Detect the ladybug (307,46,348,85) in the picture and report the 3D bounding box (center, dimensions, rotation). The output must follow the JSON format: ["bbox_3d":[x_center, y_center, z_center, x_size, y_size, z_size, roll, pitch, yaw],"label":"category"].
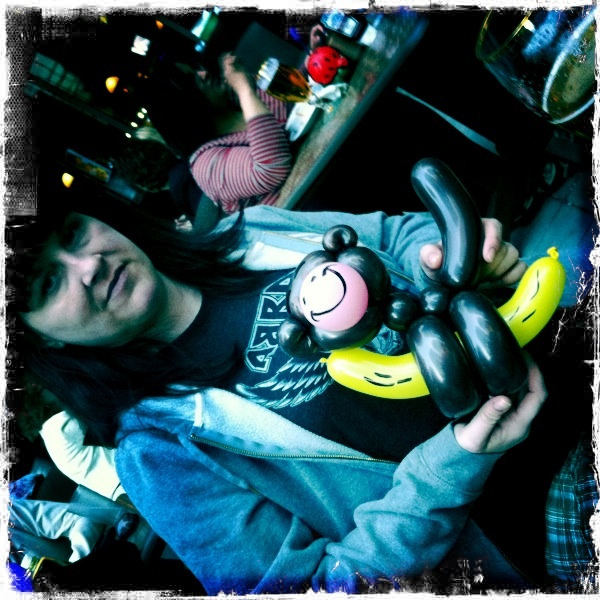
[{"bbox_3d":[0.064,-0.718,1.865,0.095,0.101,0.127,-4,-1,6],"label":"ladybug"}]

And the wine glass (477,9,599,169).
[{"bbox_3d":[0.604,-0.543,1.506,0.349,0.325,0.203,14,39,13],"label":"wine glass"}]
